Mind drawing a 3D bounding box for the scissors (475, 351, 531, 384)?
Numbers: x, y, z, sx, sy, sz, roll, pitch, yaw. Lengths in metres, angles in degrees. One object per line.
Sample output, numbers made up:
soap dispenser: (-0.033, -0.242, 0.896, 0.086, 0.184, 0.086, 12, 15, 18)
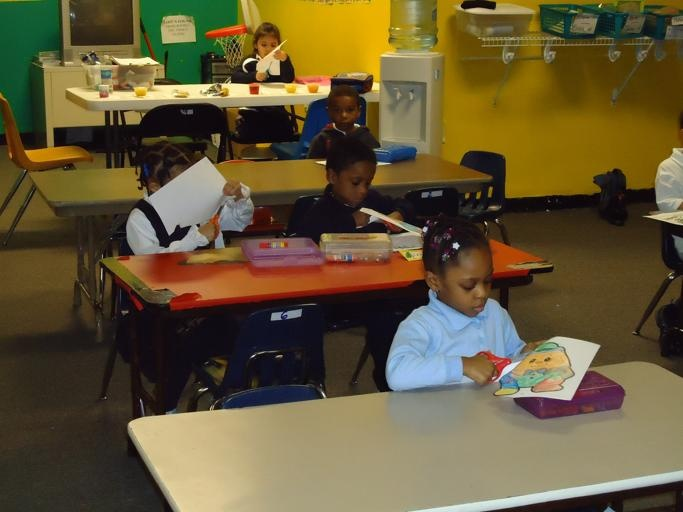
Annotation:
scissors: (0.376, 0.258, 1.380, 0.108, 0.017, 0.056, -14, 22, -30)

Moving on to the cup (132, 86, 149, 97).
cup: (-1.670, -1.353, 4.876, 0.113, 0.065, 0.104, -1, 7, 0)

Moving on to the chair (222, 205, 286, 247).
chair: (-0.458, -0.138, 3.420, 0.229, 0.242, 0.192, -15, 39, -16)

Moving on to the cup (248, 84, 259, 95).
cup: (-0.756, -1.441, 5.060, 0.103, 0.084, 0.094, 1, 13, 0)

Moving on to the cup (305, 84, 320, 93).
cup: (-0.242, -1.467, 5.148, 0.096, 0.054, 0.089, -1, 9, 0)

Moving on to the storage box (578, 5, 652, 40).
storage box: (2.273, -1.922, 4.839, 0.446, 0.140, 0.320, 1, 17, 5)

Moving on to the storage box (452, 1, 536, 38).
storage box: (1.256, -1.932, 4.807, 0.617, 0.254, 0.359, 2, 22, 8)

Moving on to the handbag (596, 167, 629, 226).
handbag: (2.507, -0.558, 5.377, 0.304, 0.449, 0.367, 15, 28, 34)

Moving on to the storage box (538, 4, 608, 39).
storage box: (1.903, -1.937, 4.918, 0.347, 0.185, 0.472, -2, 17, -10)

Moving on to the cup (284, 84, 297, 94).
cup: (-0.444, -1.462, 5.120, 0.093, 0.056, 0.092, 0, 15, 0)
